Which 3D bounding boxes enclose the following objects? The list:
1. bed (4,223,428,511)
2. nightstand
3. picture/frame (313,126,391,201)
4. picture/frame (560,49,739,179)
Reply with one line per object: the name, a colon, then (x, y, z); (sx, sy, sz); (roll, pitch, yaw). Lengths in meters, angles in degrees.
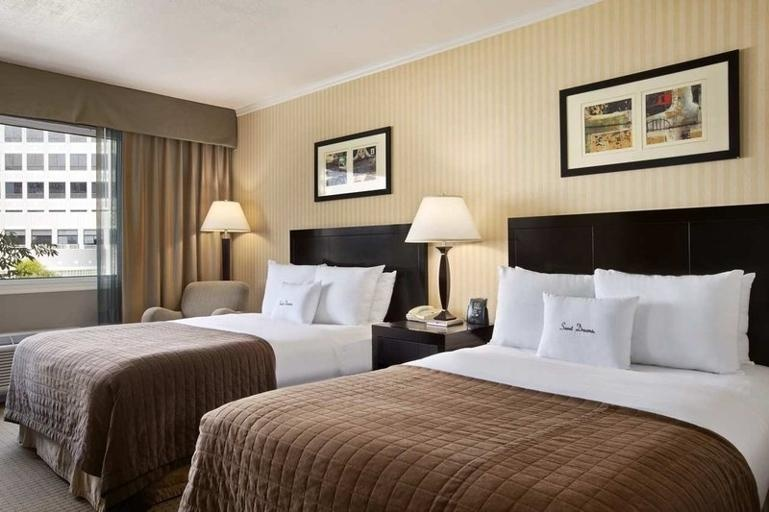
bed: (-1.281, 0.760, 3.880); (1.995, 1.243, 1.942); (2, -4, -44)
nightstand: (0.370, 0.625, 4.292); (0.532, 0.562, 0.561); (2, 3, 42)
picture/frame: (-0.290, -0.922, 5.375); (0.837, 0.582, 0.034); (-1, 0, 41)
picture/frame: (1.938, -1.017, 3.841); (1.055, 0.618, 0.039); (-3, -2, 38)
